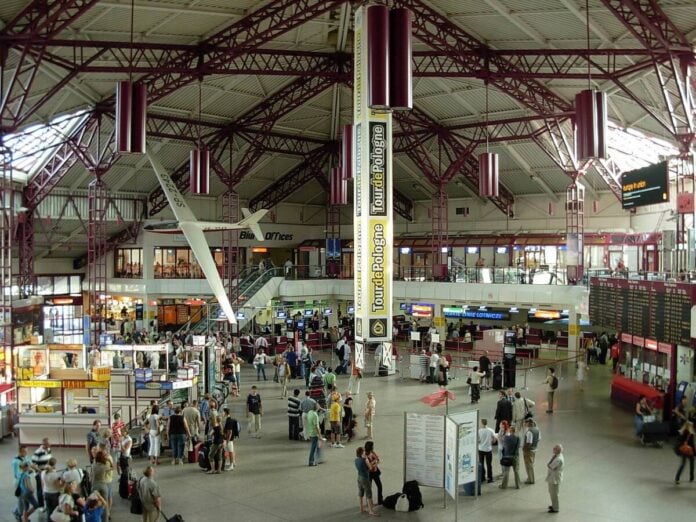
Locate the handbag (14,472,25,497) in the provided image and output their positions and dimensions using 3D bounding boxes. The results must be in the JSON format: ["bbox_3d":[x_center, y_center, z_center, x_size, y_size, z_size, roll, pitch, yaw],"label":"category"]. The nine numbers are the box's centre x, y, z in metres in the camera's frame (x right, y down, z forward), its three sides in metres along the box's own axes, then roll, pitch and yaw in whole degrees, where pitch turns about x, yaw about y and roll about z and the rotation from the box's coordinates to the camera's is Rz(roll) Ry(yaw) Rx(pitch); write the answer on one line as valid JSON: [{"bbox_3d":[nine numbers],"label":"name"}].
[{"bbox_3d":[-7.702,5.205,16.865,0.285,0.608,0.145,7,13,30],"label":"handbag"}]

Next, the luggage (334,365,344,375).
[{"bbox_3d":[-0.369,4.706,31.344,0.267,0.359,0.372,0,4,0],"label":"luggage"}]

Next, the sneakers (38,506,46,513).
[{"bbox_3d":[-7.500,6.082,17.673,0.126,0.072,0.206,0,3,3],"label":"sneakers"}]

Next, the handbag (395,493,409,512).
[{"bbox_3d":[1.327,5.786,17.401,0.413,0.531,0.291,2,-5,5],"label":"handbag"}]

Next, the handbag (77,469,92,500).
[{"bbox_3d":[-6.311,5.318,17.331,0.266,0.458,1.001,-3,12,-21],"label":"handbag"}]

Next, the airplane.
[{"bbox_3d":[-5.999,-1.550,30.175,4.781,1.000,7.778,1,-24,1],"label":"airplane"}]

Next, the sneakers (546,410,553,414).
[{"bbox_3d":[6.872,5.111,24.531,0.224,0.151,0.074,3,1,24],"label":"sneakers"}]

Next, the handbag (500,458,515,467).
[{"bbox_3d":[4.069,5.100,18.386,0.300,0.286,0.212,-2,3,-1],"label":"handbag"}]

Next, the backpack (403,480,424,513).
[{"bbox_3d":[1.577,5.699,17.465,0.592,0.829,0.459,-4,-5,-5],"label":"backpack"}]

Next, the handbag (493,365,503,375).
[{"bbox_3d":[5.729,4.156,27.632,0.360,0.368,0.205,4,9,20],"label":"handbag"}]

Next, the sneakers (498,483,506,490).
[{"bbox_3d":[3.955,5.775,18.502,0.162,0.111,0.076,-3,-1,20],"label":"sneakers"}]

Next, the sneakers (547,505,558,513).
[{"bbox_3d":[4.885,5.913,17.213,0.183,0.053,0.142,-3,4,5],"label":"sneakers"}]

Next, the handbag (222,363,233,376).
[{"bbox_3d":[-4.558,4.166,27.647,0.372,0.426,0.455,4,-13,-21],"label":"handbag"}]
